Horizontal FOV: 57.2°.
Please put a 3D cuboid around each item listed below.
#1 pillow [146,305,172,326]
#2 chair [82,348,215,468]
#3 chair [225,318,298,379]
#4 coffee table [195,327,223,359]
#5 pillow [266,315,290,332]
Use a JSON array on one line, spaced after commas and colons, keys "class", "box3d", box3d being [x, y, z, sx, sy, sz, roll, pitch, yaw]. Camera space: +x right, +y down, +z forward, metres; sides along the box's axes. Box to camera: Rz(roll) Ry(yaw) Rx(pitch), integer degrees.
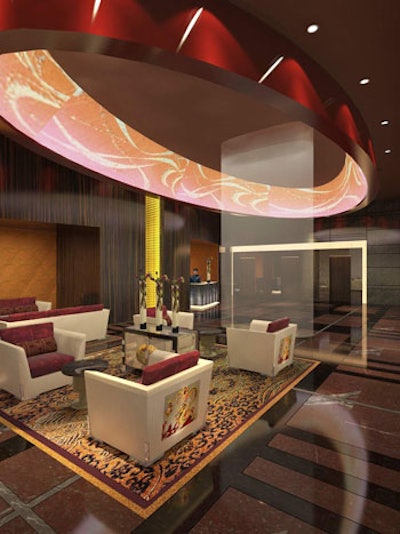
[{"class": "pillow", "box3d": [-0.742, 0.870, 6.576, 0.387, 0.358, 0.369, 1, -2, 16]}, {"class": "chair", "box3d": [-0.457, 1.199, 3.261, 0.764, 0.666, 0.866, 1, 2, 35]}, {"class": "chair", "box3d": [0.891, 1.116, 5.331, 1.028, 0.654, 1.019, -1, 1, -1]}, {"class": "coffee table", "box3d": [0.140, 1.295, 6.214, 0.547, 0.517, 0.520, 0, -4, 5]}, {"class": "pillow", "box3d": [1.073, 0.810, 5.104, 0.187, 0.146, 0.565, 1, 2, 30]}]
